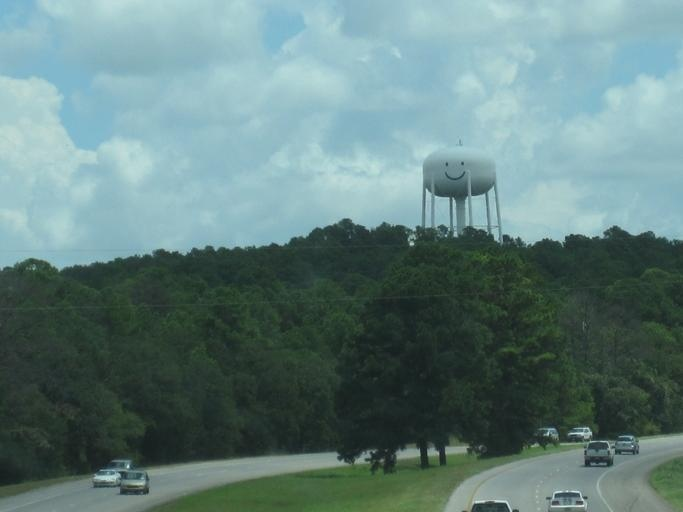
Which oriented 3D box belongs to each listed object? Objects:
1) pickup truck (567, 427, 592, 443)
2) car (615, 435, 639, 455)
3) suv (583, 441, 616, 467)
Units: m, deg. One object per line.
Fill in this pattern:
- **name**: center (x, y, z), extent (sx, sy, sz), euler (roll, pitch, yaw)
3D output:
- **pickup truck**: center (31.279, 23.707, 168.450), extent (2.778, 1.947, 1.510), euler (-1, -13, -4)
- **car**: center (32.901, 22.068, 148.050), extent (2.440, 2.055, 1.327), euler (-4, -12, 10)
- **suv**: center (27.501, 21.141, 136.204), extent (3.648, 2.708, 2.293), euler (2, -13, -15)
